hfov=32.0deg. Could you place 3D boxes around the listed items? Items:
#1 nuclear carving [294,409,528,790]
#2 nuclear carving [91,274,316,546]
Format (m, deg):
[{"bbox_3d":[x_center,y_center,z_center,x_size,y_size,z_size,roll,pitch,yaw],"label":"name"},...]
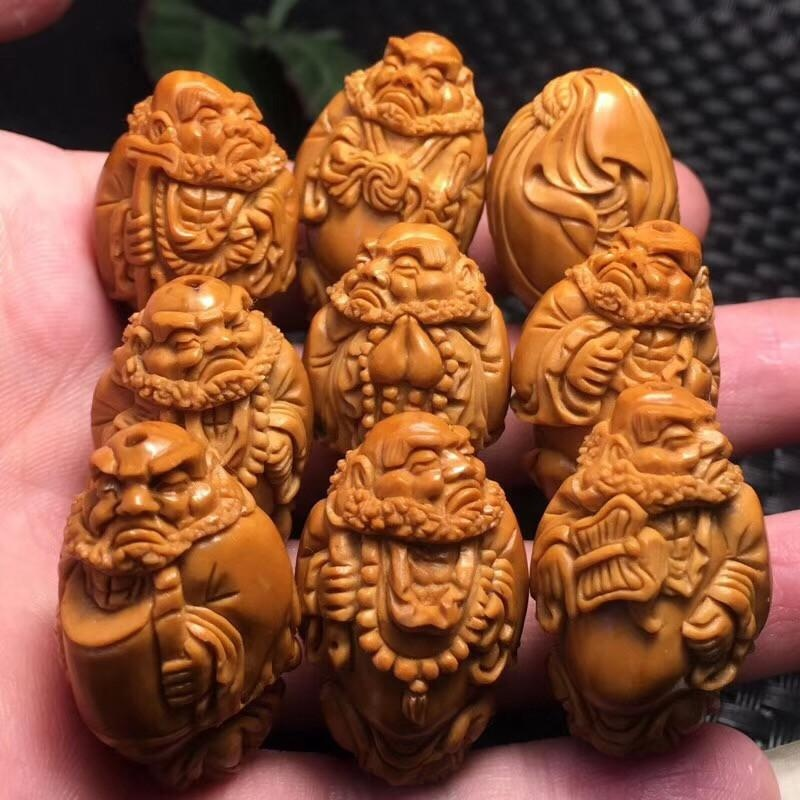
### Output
[{"bbox_3d":[0.030,0.378,2.604,0.425,0.586,0.499,-12,56,-9],"label":"nuclear carving"},{"bbox_3d":[-0.364,0.021,2.622,0.422,0.568,0.292,-10,27,-26],"label":"nuclear carving"}]
